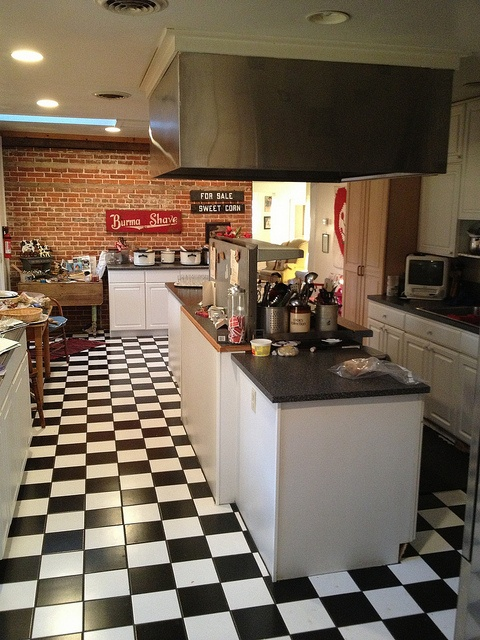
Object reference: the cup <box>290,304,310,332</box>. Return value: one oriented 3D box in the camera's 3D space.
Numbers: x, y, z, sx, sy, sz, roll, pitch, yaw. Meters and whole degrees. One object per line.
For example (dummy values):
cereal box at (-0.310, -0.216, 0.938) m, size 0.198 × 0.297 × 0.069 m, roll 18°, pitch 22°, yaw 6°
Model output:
cup at (0.344, -0.011, 2.641) m, size 0.123 × 0.156 × 0.116 m, roll 1°, pitch 6°, yaw 0°

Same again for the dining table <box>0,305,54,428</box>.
dining table at (-1.504, 0.323, 3.262) m, size 0.256 × 0.578 × 0.770 m, roll -2°, pitch 26°, yaw -17°

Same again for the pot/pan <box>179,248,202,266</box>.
pot/pan at (-0.737, -0.939, 6.863) m, size 0.224 × 0.169 × 0.256 m, roll -5°, pitch 18°, yaw -19°

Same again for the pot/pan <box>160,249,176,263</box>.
pot/pan at (-1.118, -0.980, 7.109) m, size 0.186 × 0.218 × 0.191 m, roll -1°, pitch 8°, yaw -18°

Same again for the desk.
desk at (-2.538, -0.185, 6.567) m, size 1.060 × 0.847 × 0.408 m, roll -5°, pitch 13°, yaw -32°

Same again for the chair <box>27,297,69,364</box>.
chair at (-2.171, 0.078, 5.277) m, size 0.408 × 0.679 × 0.421 m, roll -4°, pitch 12°, yaw -10°

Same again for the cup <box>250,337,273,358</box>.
cup at (0.109, 0.142, 2.392) m, size 0.104 × 0.078 × 0.127 m, roll 1°, pitch 6°, yaw 1°

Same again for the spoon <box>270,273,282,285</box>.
spoon at (0.235, -0.270, 2.952) m, size 0.064 × 0.103 × 0.042 m, roll 0°, pitch -6°, yaw 4°

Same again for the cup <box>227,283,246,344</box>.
cup at (-0.016, -0.029, 2.546) m, size 0.093 × 0.296 × 0.213 m, roll 0°, pitch 6°, yaw 0°

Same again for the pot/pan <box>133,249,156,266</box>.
pot/pan at (-1.405, -0.907, 6.767) m, size 0.213 × 0.179 × 0.250 m, roll 0°, pitch 13°, yaw 2°

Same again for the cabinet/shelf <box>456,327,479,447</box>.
cabinet/shelf at (1.574, 0.489, 3.186) m, size 0.079 × 0.813 × 0.287 m, roll 2°, pitch 6°, yaw 10°

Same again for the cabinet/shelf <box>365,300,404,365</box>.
cabinet/shelf at (1.230, 0.093, 3.874) m, size 0.195 × 0.476 × 0.451 m, roll -1°, pitch 14°, yaw -10°

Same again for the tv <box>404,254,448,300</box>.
tv at (1.654, -0.379, 4.156) m, size 0.321 × 0.409 × 0.368 m, roll 2°, pitch 2°, yaw 19°
